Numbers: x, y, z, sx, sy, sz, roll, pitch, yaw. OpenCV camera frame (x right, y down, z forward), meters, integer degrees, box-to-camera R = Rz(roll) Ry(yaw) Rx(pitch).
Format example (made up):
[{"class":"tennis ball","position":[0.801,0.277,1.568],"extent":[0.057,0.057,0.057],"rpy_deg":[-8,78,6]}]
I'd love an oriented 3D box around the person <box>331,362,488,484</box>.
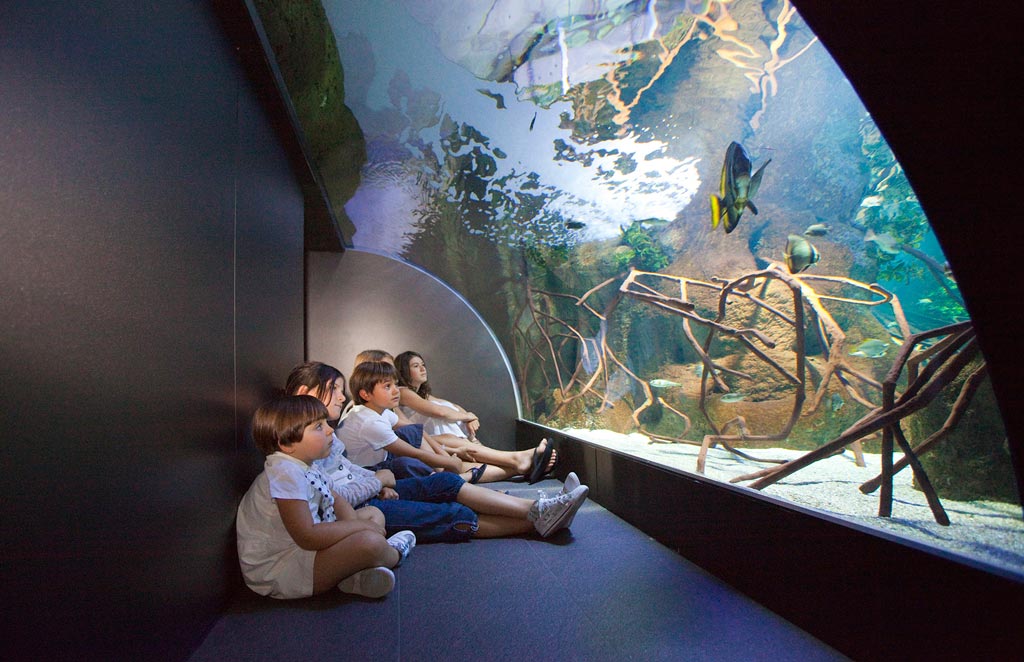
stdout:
[{"class":"person","position":[-0.800,0.758,4.755],"extent":[1.147,1.127,0.502],"rpy_deg":[-3,13,2]}]

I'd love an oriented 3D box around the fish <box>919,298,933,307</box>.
[{"class":"fish","position":[1.915,-0.137,2.891],"extent":[0.004,0.045,0.057],"rpy_deg":[-4,32,-24]}]

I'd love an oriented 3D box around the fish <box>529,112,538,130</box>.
[{"class":"fish","position":[0.136,-1.380,4.081],"extent":[0.046,0.131,0.101],"rpy_deg":[10,29,-3]}]

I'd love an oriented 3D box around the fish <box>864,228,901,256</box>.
[{"class":"fish","position":[1.787,-0.438,3.010],"extent":[0.018,0.100,0.175],"rpy_deg":[-8,34,-29]}]

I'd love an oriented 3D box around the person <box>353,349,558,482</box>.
[{"class":"person","position":[-0.648,0.855,5.803],"extent":[1.979,1.045,0.684],"rpy_deg":[-2,4,9]}]

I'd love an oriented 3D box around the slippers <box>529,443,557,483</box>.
[{"class":"slippers","position":[0.261,1.139,5.553],"extent":[0.183,0.454,0.167],"rpy_deg":[9,25,-5]}]

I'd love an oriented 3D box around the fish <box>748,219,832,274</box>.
[{"class":"fish","position":[1.473,-0.468,3.377],"extent":[0.044,0.348,0.423],"rpy_deg":[-15,38,-37]}]

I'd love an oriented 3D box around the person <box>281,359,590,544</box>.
[{"class":"person","position":[-0.460,0.784,4.261],"extent":[1.759,0.958,0.714],"rpy_deg":[8,6,9]}]

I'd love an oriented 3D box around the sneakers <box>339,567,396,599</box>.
[{"class":"sneakers","position":[-0.732,1.309,3.227],"extent":[0.276,0.145,0.106],"rpy_deg":[-5,9,3]}]

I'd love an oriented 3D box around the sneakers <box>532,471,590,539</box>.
[{"class":"sneakers","position":[0.270,1.104,3.886],"extent":[0.277,0.423,0.166],"rpy_deg":[14,30,5]}]

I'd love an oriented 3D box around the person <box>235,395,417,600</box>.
[{"class":"person","position":[-1.001,0.887,3.303],"extent":[0.836,0.823,0.691],"rpy_deg":[6,30,-8]}]
